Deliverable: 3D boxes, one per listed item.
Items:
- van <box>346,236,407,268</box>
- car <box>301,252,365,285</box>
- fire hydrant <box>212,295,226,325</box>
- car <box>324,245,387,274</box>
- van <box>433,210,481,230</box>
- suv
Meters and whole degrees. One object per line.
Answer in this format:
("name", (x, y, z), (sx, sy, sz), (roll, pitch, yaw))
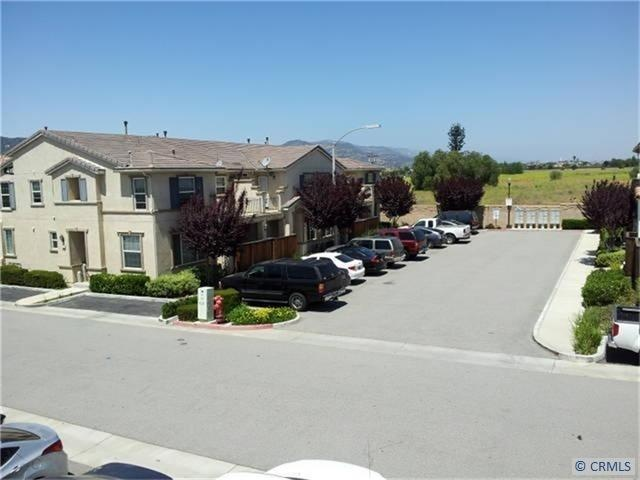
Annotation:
("van", (3.360, 0.645, 32.180), (2.863, 1.264, 1.542), (5, 6, 27))
("car", (0.665, 1.307, 27.796), (3.034, 1.079, 1.458), (7, 10, 34))
("fire hydrant", (-3.912, 2.725, 21.411), (0.400, 1.000, 0.723), (-4, 10, -12))
("car", (1.984, 1.154, 30.597), (3.220, 1.140, 1.412), (7, 9, 29))
("van", (12.408, -2.062, 49.184), (3.654, 1.554, 2.104), (3, 5, 19))
("suv", (-1.395, 1.913, 23.012), (5.507, 2.023, 2.289), (0, 0, 27))
